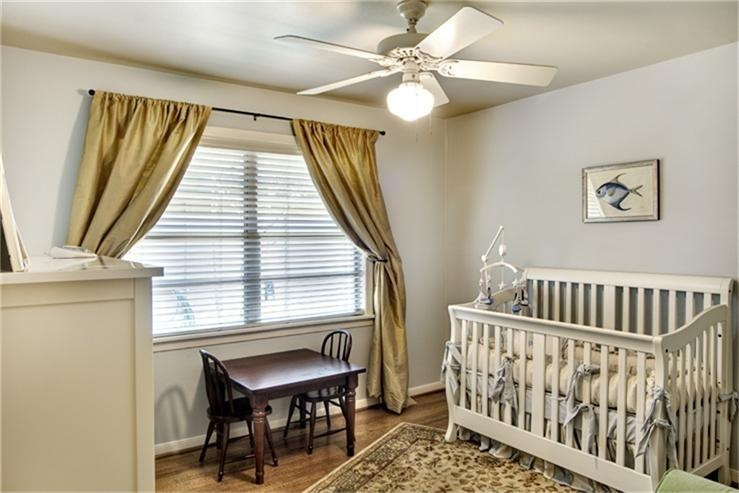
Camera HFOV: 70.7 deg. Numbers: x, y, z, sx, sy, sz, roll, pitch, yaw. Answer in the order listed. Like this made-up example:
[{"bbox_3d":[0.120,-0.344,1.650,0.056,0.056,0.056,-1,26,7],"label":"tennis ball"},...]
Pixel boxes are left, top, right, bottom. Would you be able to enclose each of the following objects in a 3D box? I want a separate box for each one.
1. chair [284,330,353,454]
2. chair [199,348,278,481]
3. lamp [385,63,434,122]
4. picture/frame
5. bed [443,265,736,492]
[{"bbox_3d":[-0.395,1.152,4.431,0.612,0.984,0.654,-14,-21,39],"label":"chair"},{"bbox_3d":[-1.111,1.191,3.915,0.394,0.915,0.581,-5,11,-20],"label":"chair"},{"bbox_3d":[0.223,-0.883,3.146,0.302,0.403,0.301,1,-6,-4],"label":"lamp"},{"bbox_3d":[2.010,-0.436,4.104,0.026,0.493,0.578,-3,1,-43],"label":"picture/frame"},{"bbox_3d":[1.675,0.988,3.950,1.433,1.539,2.013,5,-7,-38],"label":"bed"}]
